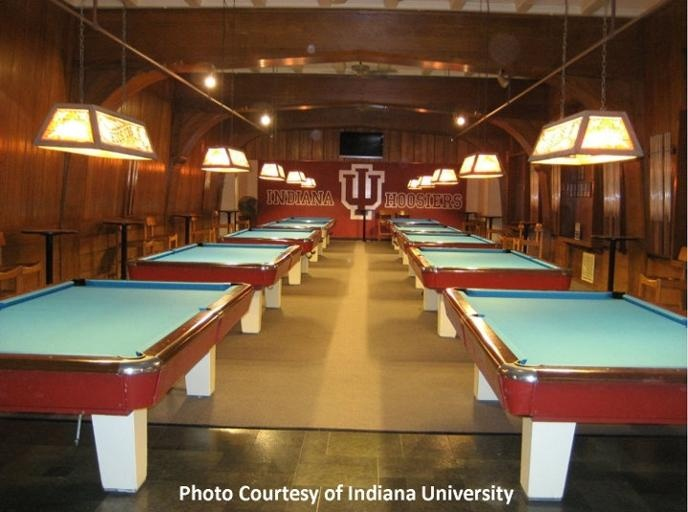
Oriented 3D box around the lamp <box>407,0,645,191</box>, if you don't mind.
[{"bbox_3d":[2.001,-1.459,5.881,1.157,1.609,3.931,-6,6,-10],"label":"lamp"}]
